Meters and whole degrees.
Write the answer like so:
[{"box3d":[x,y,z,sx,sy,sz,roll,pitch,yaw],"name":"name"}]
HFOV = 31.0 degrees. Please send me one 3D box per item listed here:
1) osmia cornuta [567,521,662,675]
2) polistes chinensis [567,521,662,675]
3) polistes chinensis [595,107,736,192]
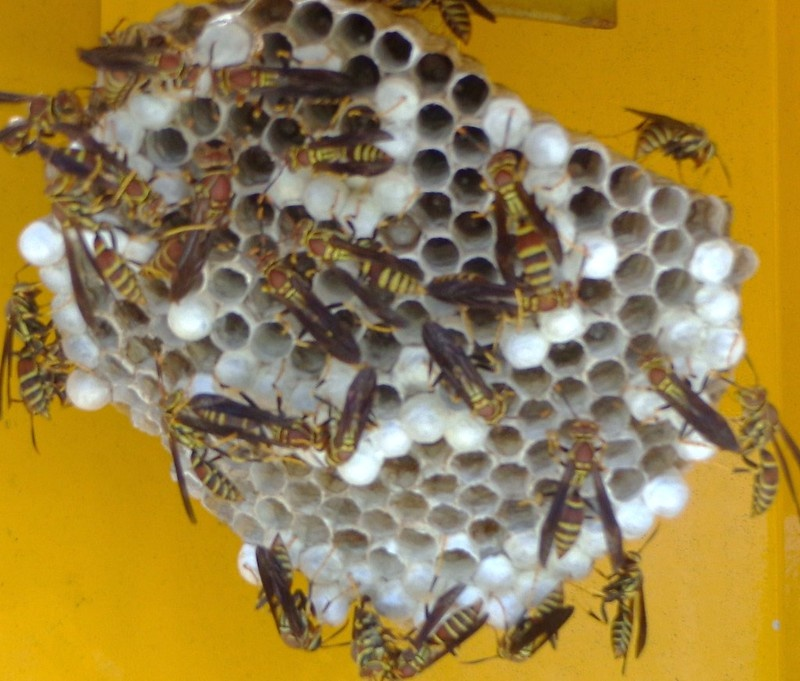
[{"box3d":[0.773,0.925,5.087,0.279,0.250,0.476,13,-58,32],"name":"osmia cornuta"},{"box3d":[0.773,0.923,5.088,0.279,0.250,0.476,13,-58,32],"name":"polistes chinensis"},{"box3d":[0.938,-0.659,5.013,0.277,0.100,0.202,22,-14,-7],"name":"polistes chinensis"}]
